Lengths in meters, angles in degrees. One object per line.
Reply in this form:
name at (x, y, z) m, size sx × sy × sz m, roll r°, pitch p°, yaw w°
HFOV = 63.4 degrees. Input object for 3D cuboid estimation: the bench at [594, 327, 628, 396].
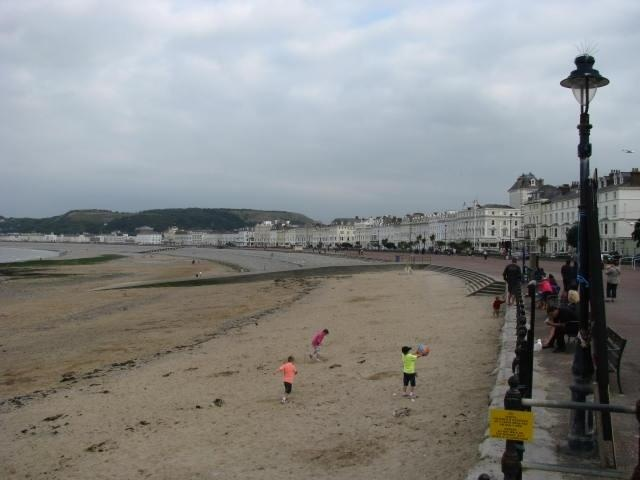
bench at (6.746, 2.760, 12.404) m, size 0.924 × 1.074 × 2.209 m, roll -5°, pitch -1°, yaw 23°
